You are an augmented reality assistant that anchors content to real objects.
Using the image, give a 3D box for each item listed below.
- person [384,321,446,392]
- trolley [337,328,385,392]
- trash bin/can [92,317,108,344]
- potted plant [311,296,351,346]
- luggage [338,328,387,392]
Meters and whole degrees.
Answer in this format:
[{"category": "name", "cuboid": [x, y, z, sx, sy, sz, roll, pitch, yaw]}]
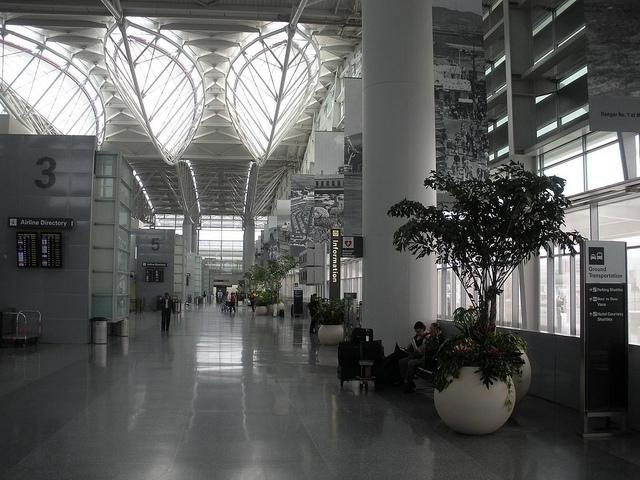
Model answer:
[{"category": "person", "cuboid": [2.020, 2.497, 10.655, 2.019, 1.270, 1.083, 1, -5, -8]}, {"category": "trolley", "cuboid": [0.888, 2.560, 11.237, 0.854, 1.349, 1.266, 2, -1, -3]}, {"category": "trash bin/can", "cuboid": [-7.977, 3.288, 18.042, 0.725, 1.130, 0.737, 3, -8, -30]}, {"category": "potted plant", "cuboid": [0.440, 3.059, 18.502, 1.010, 1.732, 1.609, 5, -3, -10]}, {"category": "luggage", "cuboid": [0.851, 2.586, 11.033, 0.841, 1.372, 0.867, 2, -3, -31]}]
